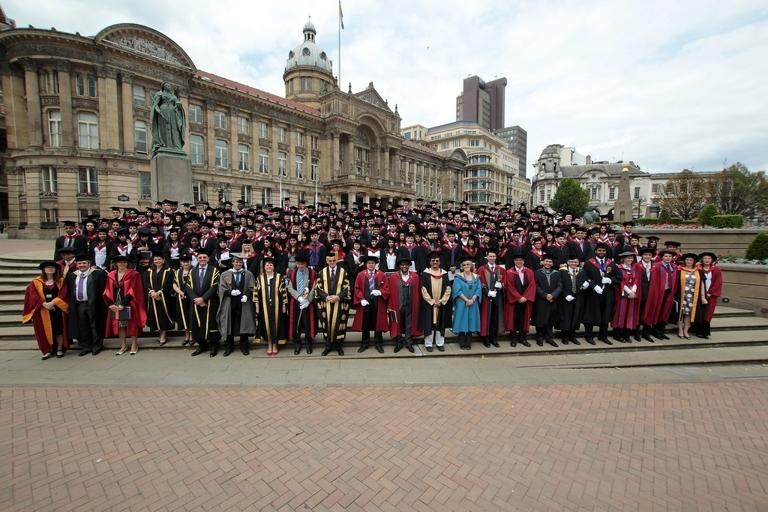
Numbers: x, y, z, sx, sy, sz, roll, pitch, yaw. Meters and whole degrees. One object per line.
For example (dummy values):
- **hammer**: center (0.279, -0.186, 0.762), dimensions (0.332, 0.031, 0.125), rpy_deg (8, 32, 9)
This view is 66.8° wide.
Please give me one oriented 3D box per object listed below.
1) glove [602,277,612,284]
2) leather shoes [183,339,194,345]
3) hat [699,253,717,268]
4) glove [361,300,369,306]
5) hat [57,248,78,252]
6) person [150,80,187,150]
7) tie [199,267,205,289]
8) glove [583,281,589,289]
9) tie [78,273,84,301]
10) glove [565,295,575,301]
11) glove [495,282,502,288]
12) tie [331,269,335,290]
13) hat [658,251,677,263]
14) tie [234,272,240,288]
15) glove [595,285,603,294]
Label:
- **glove**: center (7.578, 0.824, 19.833), dimensions (0.313, 0.235, 0.136), rpy_deg (0, -5, -15)
- **leather shoes**: center (-6.578, 2.917, 19.477), dimensions (0.390, 0.218, 0.194), rpy_deg (-2, -5, 11)
- **hat**: center (11.336, 0.150, 20.482), dimensions (0.531, 0.521, 0.174), rpy_deg (-8, -4, 20)
- **glove**: center (-0.647, 1.522, 19.114), dimensions (0.307, 0.199, 0.172), rpy_deg (0, -5, -18)
- **hat**: center (-10.294, -0.186, 19.091), dimensions (0.377, 0.131, 0.418), rpy_deg (1, 3, 31)
- **person**: center (-10.123, -6.386, 27.257), dimensions (1.410, 3.341, 0.902), rpy_deg (1, -6, -22)
- **tie**: center (-5.952, 0.696, 19.121), dimensions (0.220, 0.620, 0.060), rpy_deg (-1, -5, -6)
- **glove**: center (6.818, 0.991, 19.665), dimensions (0.143, 0.248, 0.190), rpy_deg (-3, 9, -35)
- **tie**: center (-9.782, 1.024, 18.786), dimensions (0.247, 0.795, 0.120), rpy_deg (0, -6, -17)
- **glove**: center (6.245, 1.438, 19.619), dimensions (0.201, 0.127, 0.202), rpy_deg (16, 25, 35)
- **glove**: center (3.812, 0.971, 19.459), dimensions (0.146, 0.192, 0.063), rpy_deg (-2, -4, 13)
- **tie**: center (-1.658, 0.756, 19.054), dimensions (0.128, 0.591, 0.051), rpy_deg (0, -6, -15)
- **hat**: center (9.904, 0.016, 20.507), dimensions (0.468, 0.139, 0.477), rpy_deg (0, 15, 2)
- **tie**: center (-4.818, 0.745, 19.081), dimensions (0.238, 0.420, 0.029), rpy_deg (0, -6, -15)
- **glove**: center (7.267, 1.125, 19.727), dimensions (0.332, 0.282, 0.154), rpy_deg (1, -6, -22)
